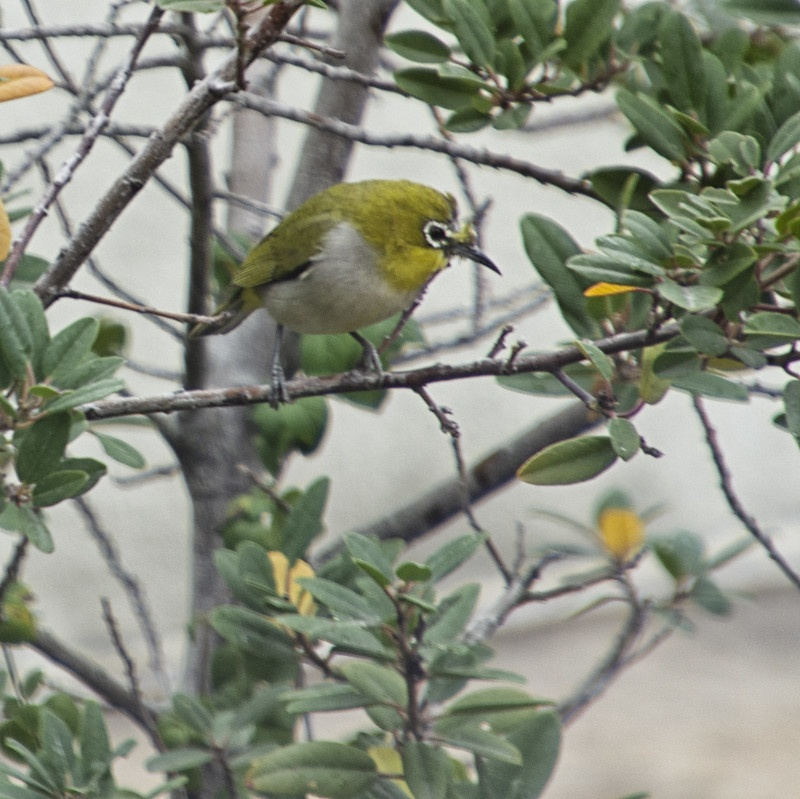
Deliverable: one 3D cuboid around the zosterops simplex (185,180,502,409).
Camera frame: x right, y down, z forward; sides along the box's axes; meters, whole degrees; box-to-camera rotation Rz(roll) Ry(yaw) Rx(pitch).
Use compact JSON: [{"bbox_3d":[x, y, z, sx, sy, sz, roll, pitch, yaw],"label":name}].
[{"bbox_3d":[-0.078,-0.159,2.079,0.245,0.524,0.262,-10,-73,-46],"label":"zosterops simplex"}]
